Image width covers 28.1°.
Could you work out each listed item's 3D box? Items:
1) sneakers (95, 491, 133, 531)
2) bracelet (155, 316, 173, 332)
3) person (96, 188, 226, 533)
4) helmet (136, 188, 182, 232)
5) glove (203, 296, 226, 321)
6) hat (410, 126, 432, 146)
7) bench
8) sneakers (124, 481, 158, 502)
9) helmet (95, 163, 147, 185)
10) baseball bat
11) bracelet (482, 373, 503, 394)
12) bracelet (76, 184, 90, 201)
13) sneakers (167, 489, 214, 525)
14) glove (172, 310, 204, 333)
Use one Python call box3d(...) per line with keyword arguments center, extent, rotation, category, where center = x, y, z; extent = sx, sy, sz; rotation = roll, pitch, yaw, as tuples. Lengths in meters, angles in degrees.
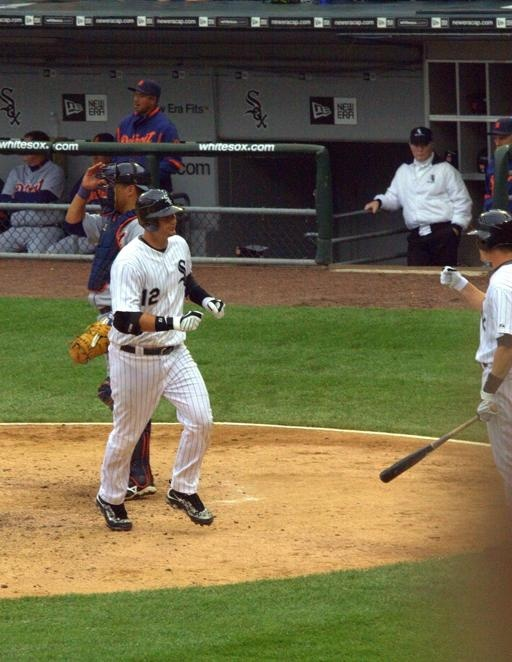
box3d(center=(-0.643, 0.839, 4.718), extent=(0.096, 0.216, 0.080), rotation=(-39, -17, 9), category="sneakers")
box3d(center=(-0.383, -0.023, 4.276), extent=(0.076, 0.067, 0.100), rotation=(-2, 7, -4), category="bracelet")
box3d(center=(-0.450, 0.151, 4.606), extent=(0.615, 1.554, 0.703), rotation=(-1, 8, 4), category="person")
box3d(center=(-0.425, -0.525, 4.480), extent=(0.200, 0.169, 0.172), rotation=(-2, 7, -5), category="helmet")
box3d(center=(-0.207, -0.101, 4.619), extent=(0.126, 0.050, 0.077), rotation=(36, 11, 38), category="glove")
box3d(center=(1.583, -1.829, 9.771), extent=(0.166, 0.122, 0.234), rotation=(0, 6, 11), category="hat")
box3d(center=(-1.486, -1.671, 11.887), extent=(1.972, 0.415, 1.744), rotation=(-1, 35, 1), category="bench")
box3d(center=(-0.590, 0.810, 5.161), extent=(0.175, 0.065, 0.061), rotation=(0, 6, -30), category="sneakers")
box3d(center=(-0.635, -0.741, 4.892), extent=(0.176, 0.071, 0.109), rotation=(2, 10, 10), category="helmet")
box3d(center=(1.043, 0.655, 5.811), extent=(0.849, 0.085, 0.099), rotation=(-28, 28, -11), category="baseball bat")
box3d(center=(1.018, 0.222, 4.381), extent=(0.084, 0.095, 0.099), rotation=(0, 7, 12), category="bracelet")
box3d(center=(-0.873, -0.693, 5.170), extent=(0.076, 0.068, 0.073), rotation=(-9, -34, -2), category="bracelet")
box3d(center=(-0.315, 0.816, 4.910), extent=(0.295, 0.108, 0.104), rotation=(21, 22, 35), category="sneakers")
box3d(center=(-0.292, -0.036, 4.293), extent=(0.086, 0.044, 0.107), rotation=(-14, 12, -9), category="glove")
